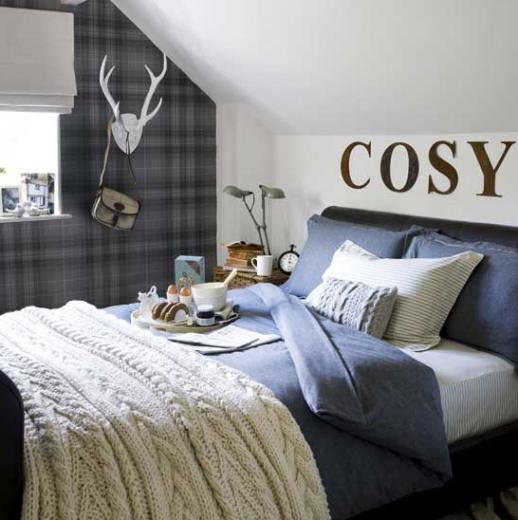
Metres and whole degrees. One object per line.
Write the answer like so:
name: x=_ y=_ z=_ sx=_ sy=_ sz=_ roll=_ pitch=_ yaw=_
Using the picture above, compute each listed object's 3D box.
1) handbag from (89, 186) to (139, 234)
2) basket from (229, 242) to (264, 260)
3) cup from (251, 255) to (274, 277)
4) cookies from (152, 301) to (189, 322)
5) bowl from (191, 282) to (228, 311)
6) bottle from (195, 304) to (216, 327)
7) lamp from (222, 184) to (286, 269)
handbag: x=-1.045 y=-0.395 z=3.623 sx=0.411 sy=0.140 sz=0.421 roll=8 pitch=-9 yaw=27
basket: x=-0.108 y=-0.066 z=3.592 sx=0.165 sy=0.074 sz=0.148 roll=-2 pitch=-1 yaw=42
cup: x=0.033 y=0.041 z=3.453 sx=0.160 sy=0.168 sz=0.108 roll=2 pitch=4 yaw=17
cookies: x=-0.401 y=0.218 z=2.127 sx=0.079 sy=0.059 sz=0.111 roll=0 pitch=2 yaw=36
bowl: x=-0.244 y=0.160 z=2.281 sx=0.132 sy=0.104 sz=0.130 roll=-4 pitch=5 yaw=0
bottle: x=-0.236 y=0.242 z=2.116 sx=0.076 sy=0.081 sz=0.080 roll=-1 pitch=8 yaw=-18
lamp: x=-0.027 y=-0.322 z=3.851 sx=0.518 sy=0.782 sz=0.448 roll=4 pitch=9 yaw=15
